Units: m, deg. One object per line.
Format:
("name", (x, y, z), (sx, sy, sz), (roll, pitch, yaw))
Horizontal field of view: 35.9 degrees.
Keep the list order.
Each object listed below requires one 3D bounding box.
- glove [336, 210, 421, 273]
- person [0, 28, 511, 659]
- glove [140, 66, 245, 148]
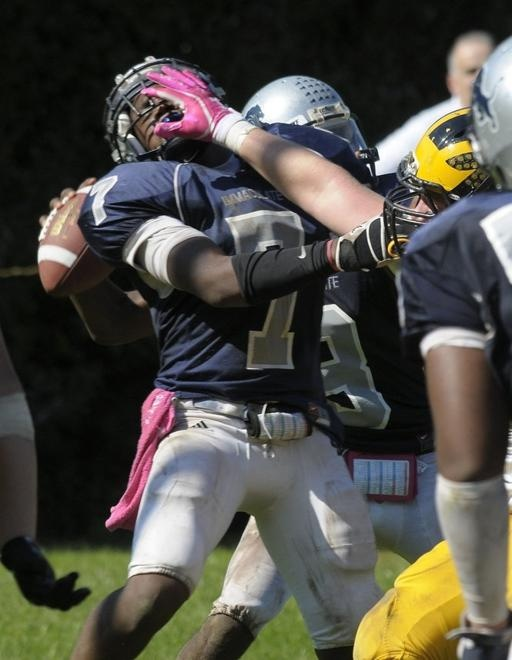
("glove", (0.249, -0.184, 1.650), (0.187, 0.077, 0.126), (-19, 7, 11))
("person", (-0.040, 0.092, 1.988), (1.079, 1.438, 0.550), (-30, 18, -25))
("glove", (-0.177, -0.588, 2.104), (0.323, 0.078, 0.227), (25, 59, 40))
